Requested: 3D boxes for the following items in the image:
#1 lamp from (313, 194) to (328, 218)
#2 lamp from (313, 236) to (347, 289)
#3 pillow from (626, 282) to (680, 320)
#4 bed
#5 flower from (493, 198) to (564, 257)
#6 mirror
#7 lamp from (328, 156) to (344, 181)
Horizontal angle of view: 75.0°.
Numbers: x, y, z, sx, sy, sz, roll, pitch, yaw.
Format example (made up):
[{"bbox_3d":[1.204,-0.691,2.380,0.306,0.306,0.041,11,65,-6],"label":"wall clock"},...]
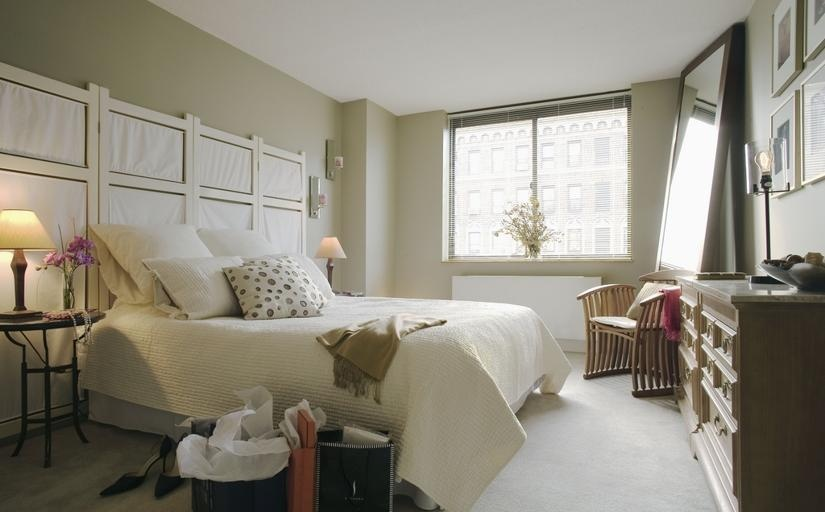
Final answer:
[{"bbox_3d":[-1.137,-0.624,6.708,0.131,0.298,0.286,-1,2,21],"label":"lamp"},{"bbox_3d":[-1.003,0.045,6.691,0.541,0.828,0.534,-1,2,-7],"label":"lamp"},{"bbox_3d":[2.388,0.447,5.436,0.102,0.419,0.449,27,1,14],"label":"pillow"},{"bbox_3d":[-0.656,0.957,4.529,3.810,1.224,2.047,-1,2,15],"label":"bed"},{"bbox_3d":[1.428,-0.345,7.173,0.667,0.718,0.714,-9,3,1],"label":"flower"},{"bbox_3d":[3.101,-1.106,5.758,0.525,2.488,1.028,-2,3,-6],"label":"mirror"},{"bbox_3d":[-0.991,-1.133,6.942,0.186,0.308,0.288,-2,2,5],"label":"lamp"}]
